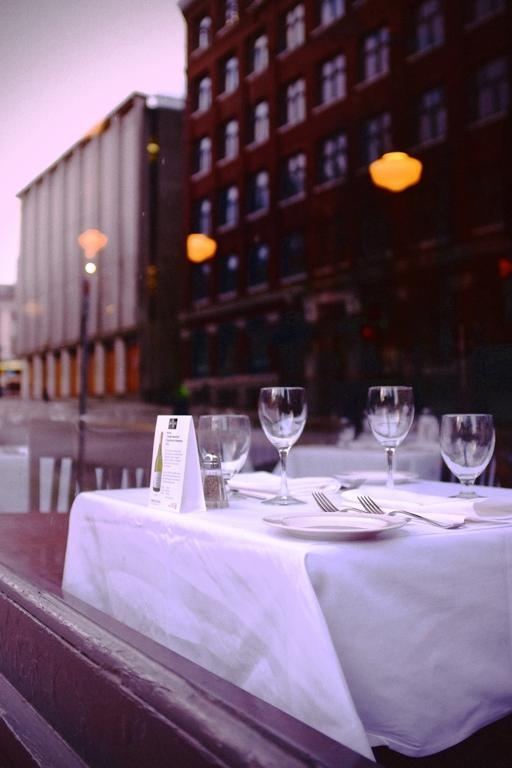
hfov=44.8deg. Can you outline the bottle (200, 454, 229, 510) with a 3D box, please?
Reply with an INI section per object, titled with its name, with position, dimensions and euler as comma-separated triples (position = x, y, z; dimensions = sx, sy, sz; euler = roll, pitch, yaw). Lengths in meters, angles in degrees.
[bottle]
position = -0.059, 0.134, 0.853
dimensions = 0.041, 0.088, 0.050
euler = -3, 0, -4
